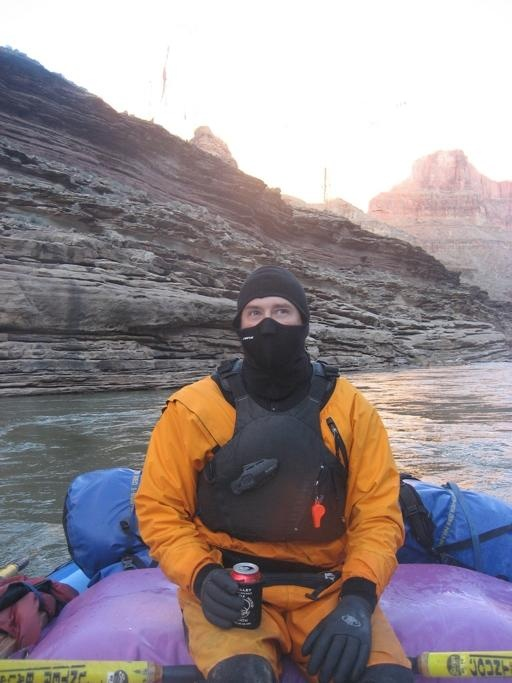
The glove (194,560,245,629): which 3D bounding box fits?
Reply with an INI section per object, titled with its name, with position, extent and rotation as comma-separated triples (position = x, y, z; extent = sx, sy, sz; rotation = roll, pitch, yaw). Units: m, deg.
[glove]
position = -0.122, 0.777, 1.711
extent = 0.116, 0.155, 0.188
rotation = 1, -2, -20
